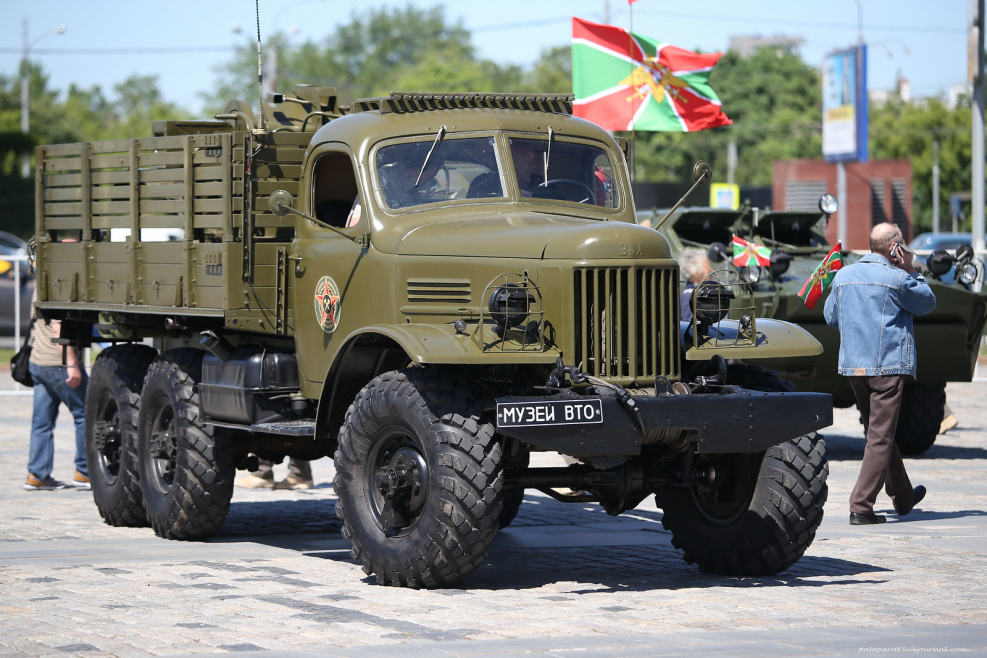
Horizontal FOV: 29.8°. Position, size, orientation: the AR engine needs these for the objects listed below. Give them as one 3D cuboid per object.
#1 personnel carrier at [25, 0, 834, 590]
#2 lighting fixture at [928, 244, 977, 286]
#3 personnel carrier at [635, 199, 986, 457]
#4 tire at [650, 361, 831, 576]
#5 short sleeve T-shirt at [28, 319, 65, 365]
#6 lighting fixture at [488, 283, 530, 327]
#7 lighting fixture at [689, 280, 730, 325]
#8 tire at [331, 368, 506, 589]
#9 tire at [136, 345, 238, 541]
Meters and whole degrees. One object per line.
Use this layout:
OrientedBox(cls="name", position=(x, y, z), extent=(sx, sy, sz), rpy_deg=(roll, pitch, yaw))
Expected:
OrientedBox(cls="personnel carrier", position=(-0.966, -0.104, 17.775), extent=(3.835, 4.239, 7.858), rpy_deg=(0, 0, -36))
OrientedBox(cls="lighting fixture", position=(5.381, -0.779, 21.574), extent=(0.603, 0.410, 0.405), rpy_deg=(8, -5, -19))
OrientedBox(cls="personnel carrier", position=(4.442, -0.159, 22.348), extent=(4.319, 2.310, 2.474), rpy_deg=(3, -2, -1))
OrientedBox(cls="tire", position=(2.069, 1.172, 15.673), extent=(0.477, 1.554, 1.384), rpy_deg=(13, -22, -40))
OrientedBox(cls="short sleeve T-shirt", position=(-4.711, 0.129, 19.592), extent=(0.416, 0.573, 0.309), rpy_deg=(1, -8, -2))
OrientedBox(cls="lighting fixture", position=(0.132, -0.186, 15.190), extent=(0.293, 0.319, 0.332), rpy_deg=(-1, 3, -35))
OrientedBox(cls="lighting fixture", position=(1.837, -0.245, 15.845), extent=(0.311, 0.362, 0.354), rpy_deg=(9, 30, 1))
OrientedBox(cls="tire", position=(-0.585, 1.214, 15.327), extent=(1.578, 1.772, 0.686), rpy_deg=(3, -8, 44))
OrientedBox(cls="tire", position=(-2.857, 1.057, 17.391), extent=(0.510, 1.819, 1.577), rpy_deg=(5, 2, -31))
